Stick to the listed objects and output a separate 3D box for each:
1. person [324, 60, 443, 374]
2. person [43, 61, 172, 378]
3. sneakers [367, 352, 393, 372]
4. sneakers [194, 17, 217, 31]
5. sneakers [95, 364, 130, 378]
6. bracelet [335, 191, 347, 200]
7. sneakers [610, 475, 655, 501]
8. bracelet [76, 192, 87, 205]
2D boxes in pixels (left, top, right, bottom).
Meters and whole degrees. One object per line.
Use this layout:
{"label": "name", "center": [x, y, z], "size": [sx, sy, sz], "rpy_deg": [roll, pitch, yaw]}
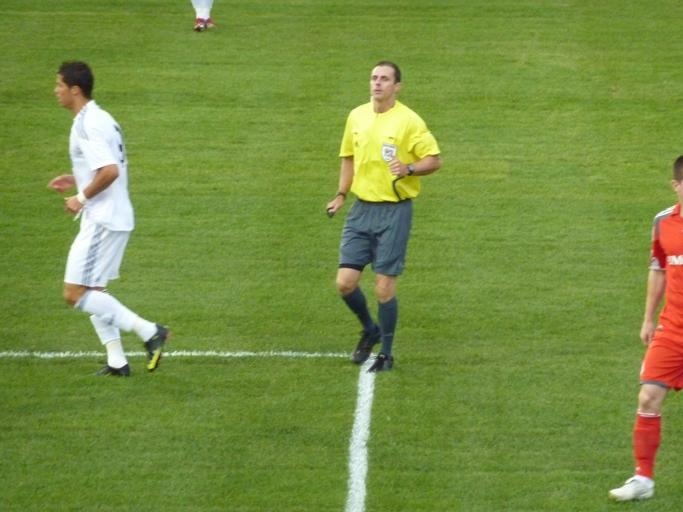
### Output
{"label": "person", "center": [0.321, -0.378, 14.561], "size": [0.962, 2.946, 0.623], "rpy_deg": [12, 14, 31]}
{"label": "person", "center": [-2.248, -0.326, 14.374], "size": [1.194, 2.958, 0.751], "rpy_deg": [15, 16, 41]}
{"label": "sneakers", "center": [0.389, 1.045, 14.564], "size": [0.332, 0.117, 0.114], "rpy_deg": [-8, 11, -38]}
{"label": "sneakers", "center": [-1.958, -3.292, 21.581], "size": [0.251, 0.222, 0.659], "rpy_deg": [1, 7, 4]}
{"label": "sneakers", "center": [-2.235, 1.117, 14.594], "size": [0.350, 0.109, 0.110], "rpy_deg": [3, 1, -1]}
{"label": "bracelet", "center": [-0.006, -0.590, 14.825], "size": [0.083, 0.040, 0.067], "rpy_deg": [18, -34, -18]}
{"label": "sneakers", "center": [2.464, 2.040, 13.179], "size": [0.505, 0.167, 0.158], "rpy_deg": [-1, 4, -2]}
{"label": "bracelet", "center": [-2.441, -0.534, 14.221], "size": [0.112, 0.100, 0.092], "rpy_deg": [-5, 2, -5]}
